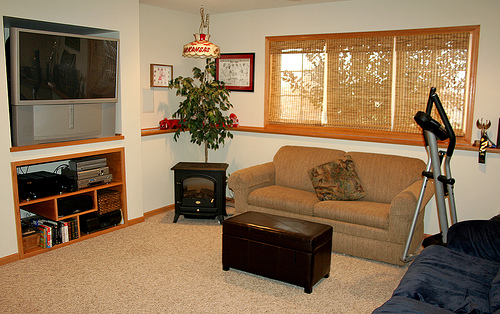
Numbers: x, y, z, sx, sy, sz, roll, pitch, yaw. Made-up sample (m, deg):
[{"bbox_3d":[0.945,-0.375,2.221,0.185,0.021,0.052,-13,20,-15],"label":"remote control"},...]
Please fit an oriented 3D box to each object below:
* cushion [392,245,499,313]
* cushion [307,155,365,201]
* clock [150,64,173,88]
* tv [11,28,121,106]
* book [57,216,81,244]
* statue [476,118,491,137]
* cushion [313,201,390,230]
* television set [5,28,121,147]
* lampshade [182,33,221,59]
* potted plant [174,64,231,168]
[{"bbox_3d":[1.796,1.087,3.108,0.602,0.175,0.623,6,24,38],"label":"cushion"},{"bbox_3d":[1.306,0.266,5.078,0.739,0.688,0.188,-27,-11,41],"label":"cushion"},{"bbox_3d":[-1.474,-1.363,5.868,0.473,0.371,0.056,11,15,30],"label":"clock"},{"bbox_3d":[-2.374,-1.157,4.552,0.173,0.892,1.529,17,18,21],"label":"tv"},{"bbox_3d":[-2.538,0.967,4.955,0.280,0.409,0.455,-8,12,-23],"label":"book"},{"bbox_3d":[3.138,-0.389,4.688,0.155,0.212,0.148,6,15,31],"label":"statue"},{"bbox_3d":[1.353,0.747,4.687,0.975,0.211,0.343,4,13,21],"label":"cushion"},{"bbox_3d":[-2.453,-0.910,4.464,0.216,1.465,1.637,15,16,40],"label":"television set"},{"bbox_3d":[-0.687,-1.592,4.982,0.568,0.289,0.545,0,17,-9],"label":"lampshade"},{"bbox_3d":[-0.789,-0.646,5.886,0.942,1.711,1.209,-2,13,-4],"label":"potted plant"}]
